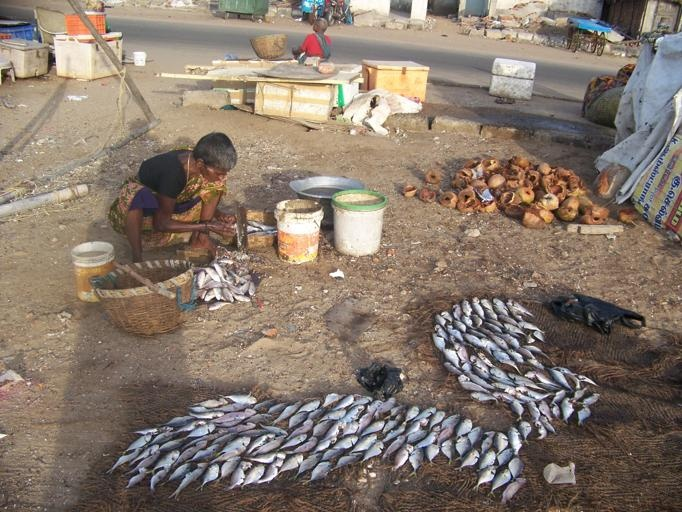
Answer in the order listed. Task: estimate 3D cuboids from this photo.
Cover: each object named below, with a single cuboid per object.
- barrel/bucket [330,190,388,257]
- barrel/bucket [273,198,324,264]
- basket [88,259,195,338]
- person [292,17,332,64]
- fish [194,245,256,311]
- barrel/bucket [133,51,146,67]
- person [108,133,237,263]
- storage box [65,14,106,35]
[{"bbox_3d":[0.187,-0.380,6.519,0.623,0.704,0.541,2,37,-1],"label":"barrel/bucket"},{"bbox_3d":[-0.490,-0.283,6.372,0.507,0.619,0.593,1,36,-3],"label":"barrel/bucket"},{"bbox_3d":[-1.837,0.384,5.333,0.894,0.603,0.627,-7,37,-14],"label":"basket"},{"bbox_3d":[-0.651,-4.645,12.122,0.757,0.933,1.082,0,35,-5],"label":"person"},{"bbox_3d":[-1.232,0.231,5.897,0.792,0.185,0.544,6,48,-21],"label":"fish"},{"bbox_3d":[-5.337,-5.185,14.852,0.306,0.358,0.386,-11,38,-18],"label":"barrel/bucket"},{"bbox_3d":[-1.765,-0.588,5.887,1.225,1.500,0.686,-11,43,-18],"label":"person"},{"bbox_3d":[-6.171,-5.503,13.448,0.599,0.508,1.421,0,30,-4],"label":"storage box"}]
